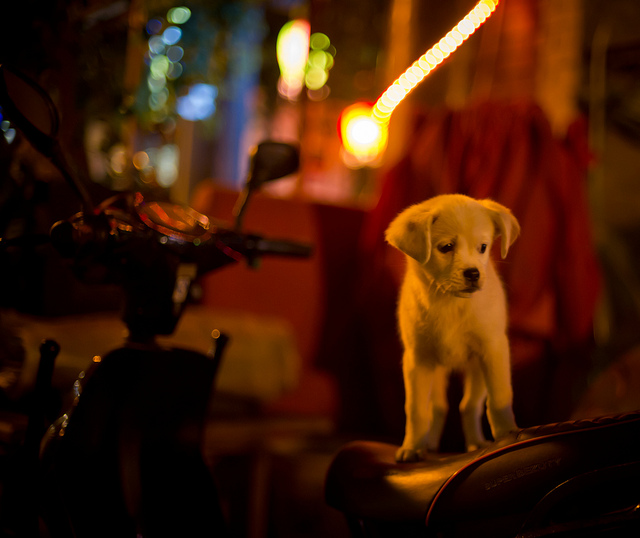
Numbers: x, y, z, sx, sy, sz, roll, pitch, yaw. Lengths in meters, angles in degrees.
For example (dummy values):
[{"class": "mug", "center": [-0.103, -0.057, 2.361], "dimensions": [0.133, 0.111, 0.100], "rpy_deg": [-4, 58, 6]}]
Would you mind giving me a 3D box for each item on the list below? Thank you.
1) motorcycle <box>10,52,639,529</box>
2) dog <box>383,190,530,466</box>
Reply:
[{"class": "motorcycle", "center": [0.009, 0.111, 1.315], "dimensions": [0.987, 0.747, 0.586], "rpy_deg": [3, -6, 13]}, {"class": "dog", "center": [0.203, 0.093, 0.995], "dimensions": [0.197, 0.376, 0.206], "rpy_deg": [-1, -25, 13]}]
